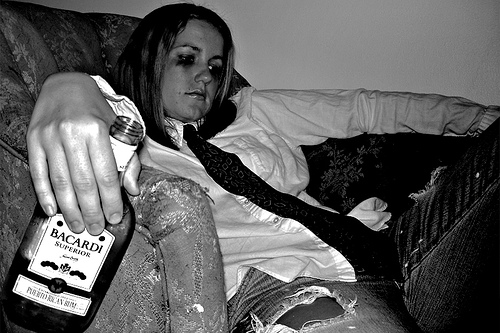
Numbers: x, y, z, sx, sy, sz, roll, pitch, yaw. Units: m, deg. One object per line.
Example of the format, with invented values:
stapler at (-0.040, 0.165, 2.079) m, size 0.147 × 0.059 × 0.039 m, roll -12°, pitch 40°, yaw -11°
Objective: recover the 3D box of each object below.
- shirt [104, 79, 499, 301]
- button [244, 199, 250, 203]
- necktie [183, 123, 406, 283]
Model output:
shirt at (0.156, -0.017, 1.503) m, size 0.931 × 0.500 × 0.737 m, roll -28°, pitch 20°, yaw -37°
button at (-0.009, 0.102, 1.421) m, size 0.011 × 0.010 × 0.003 m, roll -6°, pitch -18°, yaw 9°
necktie at (0.045, 0.132, 1.534) m, size 0.902 × 0.099 × 0.242 m, roll 32°, pitch 65°, yaw 23°
